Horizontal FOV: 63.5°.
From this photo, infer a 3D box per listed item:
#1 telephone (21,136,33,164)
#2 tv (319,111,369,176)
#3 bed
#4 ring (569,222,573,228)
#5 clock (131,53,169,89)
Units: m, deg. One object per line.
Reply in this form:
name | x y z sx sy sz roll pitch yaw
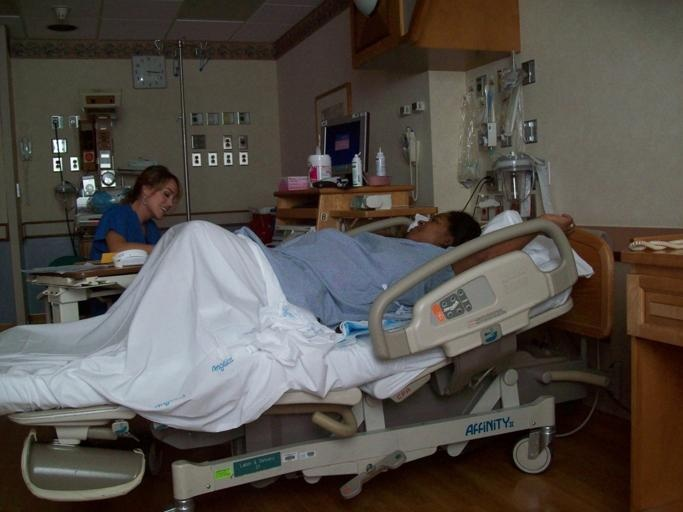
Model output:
telephone | -3.121 -1.063 5.460 0.099 0.230 0.051 -6 10 -18
tv | 0.021 -0.821 4.097 0.183 0.544 0.577 0 1 -32
bed | -0.194 0.368 2.517 1.905 1.019 1.287 -2 1 -16
ring | 1.089 -0.146 2.622 0.015 0.022 0.022 1 17 7
clock | -2.000 -1.918 5.770 0.369 0.408 0.086 -8 -4 -13
